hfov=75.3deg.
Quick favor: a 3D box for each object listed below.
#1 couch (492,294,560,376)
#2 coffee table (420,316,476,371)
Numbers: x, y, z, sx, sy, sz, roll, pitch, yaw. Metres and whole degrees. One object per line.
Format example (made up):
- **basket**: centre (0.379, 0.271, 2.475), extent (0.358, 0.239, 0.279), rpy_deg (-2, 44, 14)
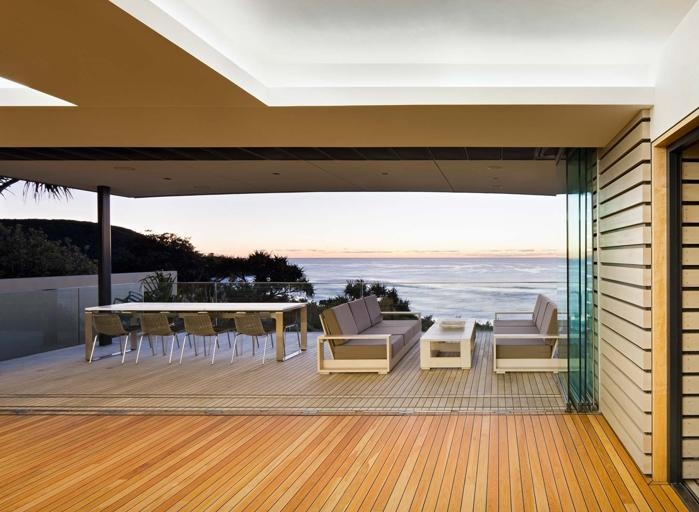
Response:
- **couch**: centre (2.685, 0.878, 6.921), extent (0.903, 0.746, 2.161), rpy_deg (0, -1, 15)
- **coffee table**: centre (1.628, 1.414, 7.294), extent (0.737, 0.575, 1.334), rpy_deg (0, 3, 18)
